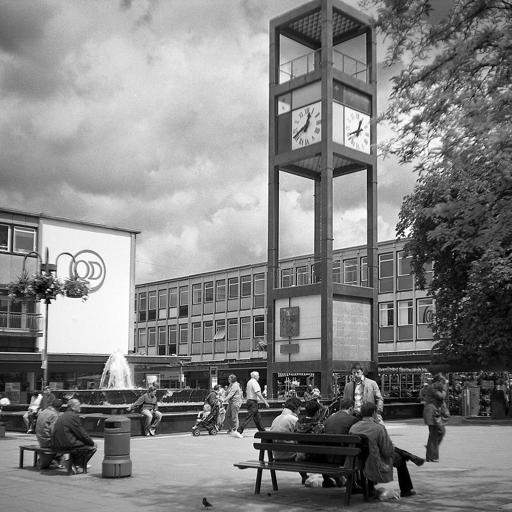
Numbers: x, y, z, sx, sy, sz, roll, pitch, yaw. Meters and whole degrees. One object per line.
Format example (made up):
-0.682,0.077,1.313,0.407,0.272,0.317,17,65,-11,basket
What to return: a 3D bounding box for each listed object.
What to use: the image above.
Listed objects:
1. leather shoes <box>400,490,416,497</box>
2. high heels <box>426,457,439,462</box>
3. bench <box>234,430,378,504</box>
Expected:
2.154,3.341,10.573,0.243,0.091,0.150,0,-12,-9,leather shoes
3.427,3.960,14.560,0.285,0.137,0.105,0,-7,-3,high heels
0.771,2.968,10.643,1.895,0.944,1.039,-13,-16,43,bench
